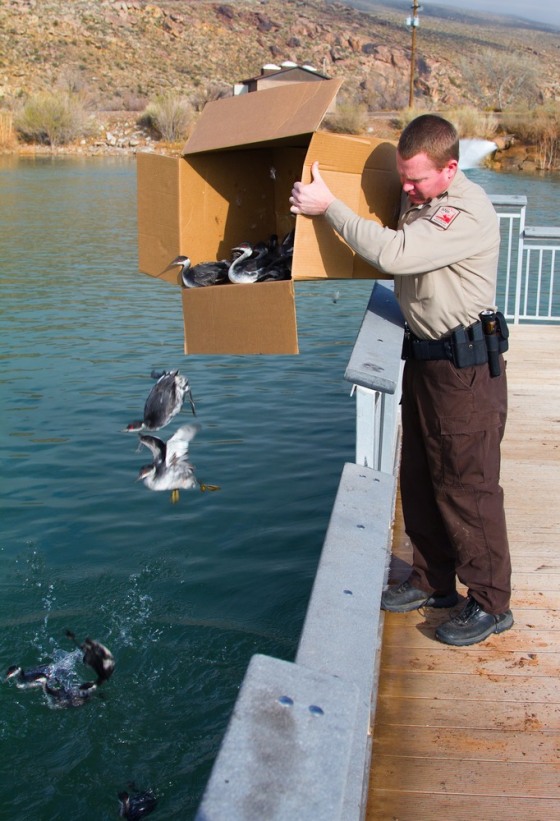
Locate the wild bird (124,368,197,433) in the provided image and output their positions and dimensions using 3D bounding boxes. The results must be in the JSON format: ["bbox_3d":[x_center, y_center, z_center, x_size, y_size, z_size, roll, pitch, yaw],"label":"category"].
[{"bbox_3d":[-0.695,-0.043,4.288,0.334,0.389,0.402,-3,11,-11],"label":"wild bird"}]

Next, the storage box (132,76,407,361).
[{"bbox_3d":[-0.241,-0.803,3.132,1.412,1.059,1.257,3,9,8],"label":"storage box"}]

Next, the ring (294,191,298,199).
[{"bbox_3d":[0.053,-0.720,2.546,0.022,0.018,0.006,0,6,36],"label":"ring"}]

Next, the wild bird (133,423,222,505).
[{"bbox_3d":[-0.824,0.457,6.066,0.583,0.401,0.622,-30,20,-27],"label":"wild bird"}]

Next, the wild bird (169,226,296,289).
[{"bbox_3d":[-0.130,-0.568,2.890,0.579,0.211,0.216,0,28,10],"label":"wild bird"}]

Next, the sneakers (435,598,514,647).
[{"bbox_3d":[0.793,0.877,3.257,0.407,0.164,0.147,-10,17,-4],"label":"sneakers"}]
